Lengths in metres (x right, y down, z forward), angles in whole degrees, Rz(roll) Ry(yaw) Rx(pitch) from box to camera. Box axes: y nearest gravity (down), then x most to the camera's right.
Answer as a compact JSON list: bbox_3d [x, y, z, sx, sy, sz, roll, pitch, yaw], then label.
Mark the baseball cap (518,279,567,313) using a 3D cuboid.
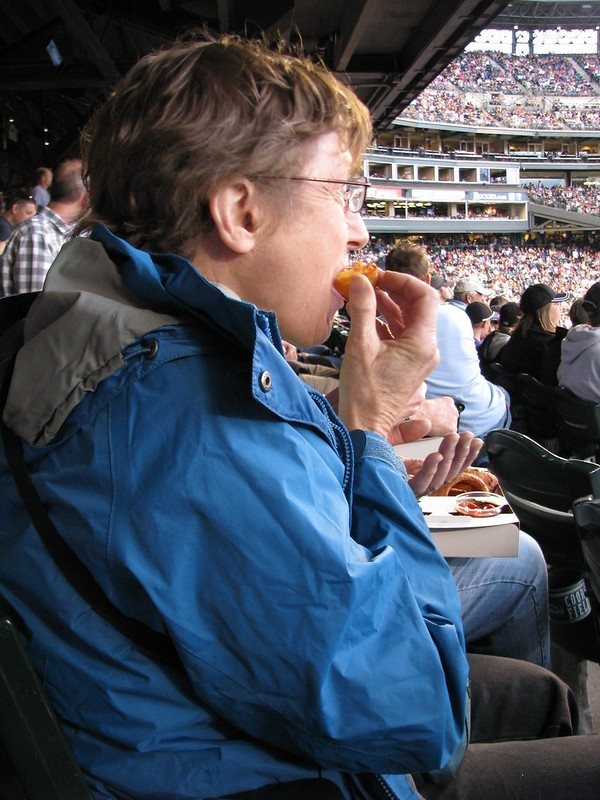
[{"bbox_3d":[1.969,-0.843,6.084,0.358,0.182,0.220,-29,17,-4],"label":"baseball cap"}]
